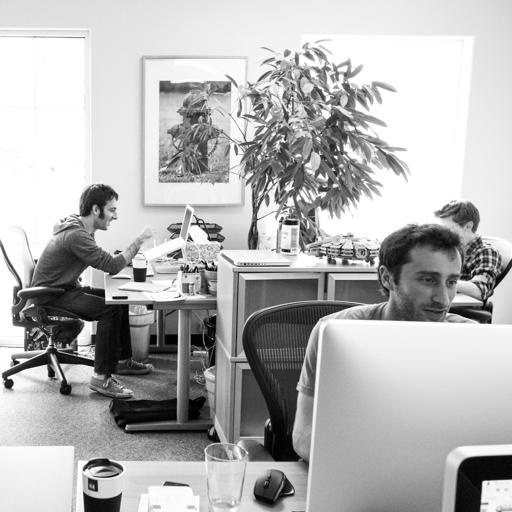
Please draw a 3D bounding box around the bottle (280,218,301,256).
[{"bbox_3d":[0.184,-0.107,2.716,0.111,0.191,0.100,-6,16,-22],"label":"bottle"}]

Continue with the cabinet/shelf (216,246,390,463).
[{"bbox_3d":[0.246,0.524,2.771,0.847,1.017,0.512,1,9,-13],"label":"cabinet/shelf"}]

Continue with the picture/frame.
[{"bbox_3d":[-0.513,-1.048,4.236,0.875,1.363,0.040,0,-15,-8],"label":"picture/frame"}]

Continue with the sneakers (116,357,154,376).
[{"bbox_3d":[-0.914,0.835,3.847,0.283,0.155,0.115,1,4,-12],"label":"sneakers"}]

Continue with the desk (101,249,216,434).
[{"bbox_3d":[-0.599,0.698,3.115,0.625,0.661,1.252,0,11,-10],"label":"desk"}]

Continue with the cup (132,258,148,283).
[{"bbox_3d":[-0.755,0.093,3.280,0.121,0.187,0.131,0,5,0],"label":"cup"}]

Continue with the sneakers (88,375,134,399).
[{"bbox_3d":[-0.979,0.878,3.362,0.304,0.152,0.126,12,2,7],"label":"sneakers"}]

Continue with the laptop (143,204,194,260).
[{"bbox_3d":[-0.655,-0.135,3.810,0.349,0.354,0.458,-2,6,-9],"label":"laptop"}]

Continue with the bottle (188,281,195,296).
[{"bbox_3d":[-0.368,0.193,2.903,0.048,0.093,0.050,0,2,0],"label":"bottle"}]

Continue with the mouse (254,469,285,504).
[{"bbox_3d":[0.024,0.444,0.983,0.054,0.036,0.074,5,8,21],"label":"mouse"}]

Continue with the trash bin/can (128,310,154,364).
[{"bbox_3d":[-0.860,0.671,4.114,0.228,0.350,0.247,7,-23,-17],"label":"trash bin/can"}]

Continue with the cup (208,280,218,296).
[{"bbox_3d":[-0.245,0.183,2.848,0.064,0.054,0.065,2,9,0],"label":"cup"}]
